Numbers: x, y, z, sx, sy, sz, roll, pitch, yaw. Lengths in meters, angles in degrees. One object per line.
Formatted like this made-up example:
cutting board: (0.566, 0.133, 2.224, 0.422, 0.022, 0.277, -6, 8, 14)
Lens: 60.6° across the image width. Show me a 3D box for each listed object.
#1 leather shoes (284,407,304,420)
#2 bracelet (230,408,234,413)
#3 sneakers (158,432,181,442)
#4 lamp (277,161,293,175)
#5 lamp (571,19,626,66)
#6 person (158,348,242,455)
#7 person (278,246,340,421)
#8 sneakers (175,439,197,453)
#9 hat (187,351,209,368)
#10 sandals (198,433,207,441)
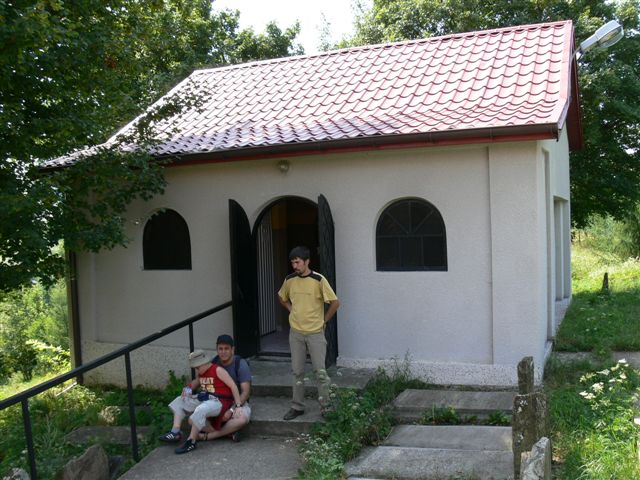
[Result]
leather shoes: (-0.360, 2.501, 7.855, 0.113, 0.144, 0.318, 0, -2, 40)
bracelet: (-1.221, 2.392, 7.653, 0.040, 0.068, 0.015, -3, -2, 12)
sneakers: (-2.087, 2.738, 7.585, 0.267, 0.138, 0.119, 3, -10, -6)
lamp: (-0.607, -1.273, 9.624, 0.196, 0.230, 0.204, 1, -4, -44)
lamp: (5.380, -3.923, 10.559, 0.825, 0.784, 0.606, -3, -1, 24)
person: (-1.586, 2.232, 7.967, 1.236, 1.512, 0.948, -9, 9, -42)
person: (-0.150, 1.323, 7.734, 0.847, 1.999, 0.448, -2, -1, 8)
sneakers: (-1.816, 2.784, 7.356, 0.128, 0.107, 0.248, 26, 38, 34)
hat: (-1.694, 1.678, 7.667, 0.321, 0.180, 0.201, -2, -1, 1)
sandals: (-1.636, 2.753, 7.613, 0.114, 0.058, 0.121, 4, -7, -18)
